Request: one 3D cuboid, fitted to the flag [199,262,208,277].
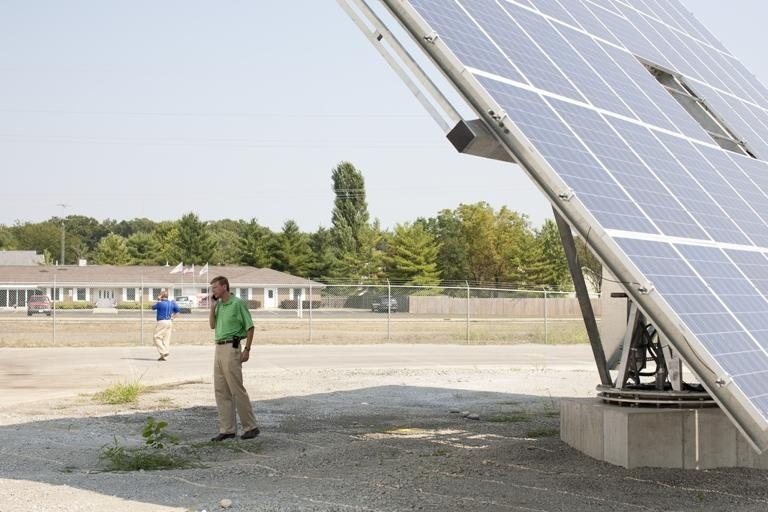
[{"bbox_3d":[-17.045,1.271,85.246,1.094,0.126,1.095,20,-44,11],"label":"flag"}]

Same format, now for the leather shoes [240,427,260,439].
[{"bbox_3d":[-2.360,3.134,15.929,0.341,0.215,0.130,4,-7,-41],"label":"leather shoes"}]

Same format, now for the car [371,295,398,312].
[{"bbox_3d":[0.327,3.528,66.492,1.435,1.108,3.002,1,2,-12],"label":"car"}]

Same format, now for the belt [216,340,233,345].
[{"bbox_3d":[-2.794,1.516,15.922,0.268,0.080,0.054,-4,-5,19],"label":"belt"}]

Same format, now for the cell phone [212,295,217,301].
[{"bbox_3d":[-3.045,0.752,16.248,0.099,0.090,0.024,25,30,31],"label":"cell phone"}]

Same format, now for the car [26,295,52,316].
[{"bbox_3d":[-23.120,3.268,60.797,1.278,0.986,2.111,1,-7,-13],"label":"car"}]

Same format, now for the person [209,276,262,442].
[{"bbox_3d":[-2.691,1.782,16.136,0.776,2.904,0.784,-2,-5,-10],"label":"person"}]
